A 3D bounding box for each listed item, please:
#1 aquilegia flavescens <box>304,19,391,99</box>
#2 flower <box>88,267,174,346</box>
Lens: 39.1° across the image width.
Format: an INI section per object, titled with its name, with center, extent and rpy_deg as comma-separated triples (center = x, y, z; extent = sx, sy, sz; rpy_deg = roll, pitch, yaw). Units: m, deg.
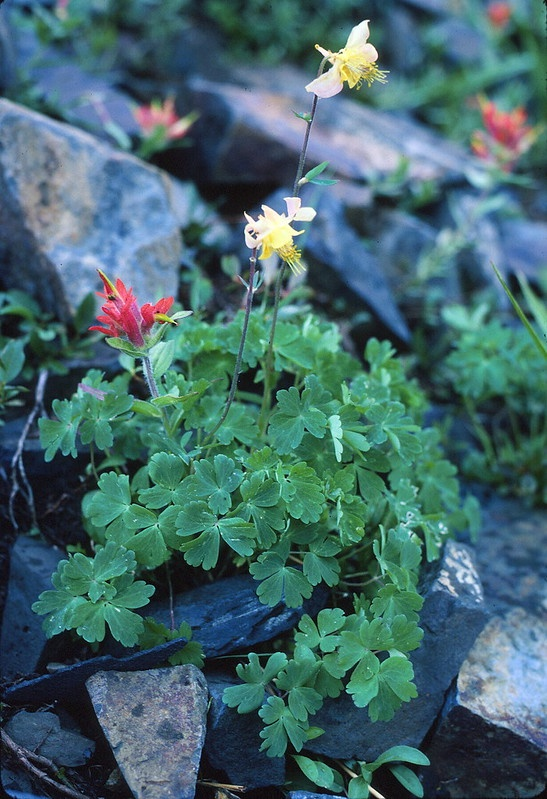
[aquilegia flavescens]
center = 0.206, -0.934, 2.155
extent = 0.201, 0.086, 0.233
rpy_deg = 8, 5, -37
[flower]
center = -0.409, -0.251, 2.227
extent = 0.211, 0.348, 0.188
rpy_deg = 5, 47, -8
